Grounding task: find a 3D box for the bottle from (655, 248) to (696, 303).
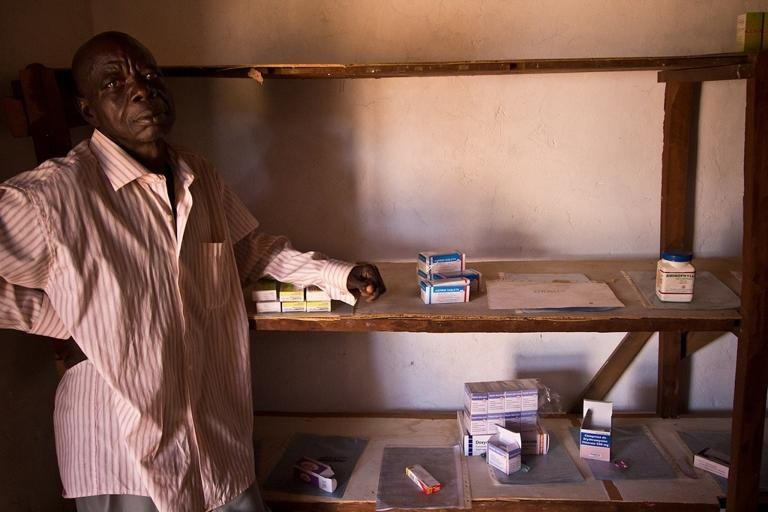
[{"bbox_3d":[1.008,0.068,2.364,0.168,0.224,0.161,-1,7,0],"label":"bottle"}]
